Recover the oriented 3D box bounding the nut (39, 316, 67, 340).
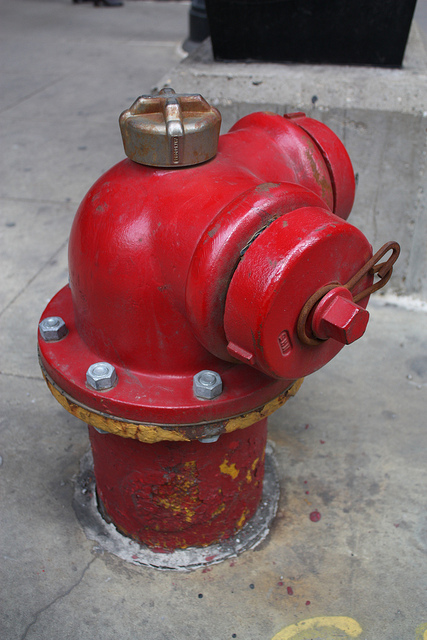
[{"bbox_3d":[-0.449,0.023,1.888,0.064,0.034,0.063,1,32,1],"label":"nut"}]

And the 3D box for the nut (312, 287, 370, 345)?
[{"bbox_3d":[0.293,-0.009,1.517,0.088,0.124,0.134,24,37,35],"label":"nut"}]

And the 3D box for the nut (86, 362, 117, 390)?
[{"bbox_3d":[-0.287,0.139,1.726,0.067,0.041,0.066,0,36,-1],"label":"nut"}]

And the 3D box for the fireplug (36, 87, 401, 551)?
[{"bbox_3d":[-0.017,0.123,1.941,0.942,1.437,0.678,7,32,12],"label":"fireplug"}]
